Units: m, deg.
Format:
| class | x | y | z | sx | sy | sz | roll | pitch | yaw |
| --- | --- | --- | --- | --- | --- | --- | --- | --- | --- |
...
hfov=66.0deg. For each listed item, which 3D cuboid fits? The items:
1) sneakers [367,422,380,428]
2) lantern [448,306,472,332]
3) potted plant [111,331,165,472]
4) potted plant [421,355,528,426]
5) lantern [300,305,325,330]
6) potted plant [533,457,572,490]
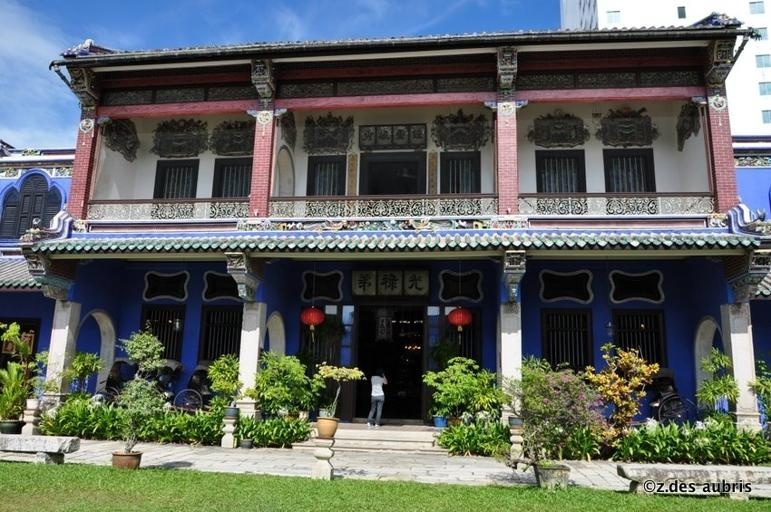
| class | x | y | z | sx | sy | sz | roll | pitch | yaw |
| --- | --- | --- | --- | --- | --- | --- | --- | --- | --- |
| sneakers | -0.321 | 4.579 | 16.004 | 0.369 | 0.155 | 0.133 | -16 | -24 | 39 |
| lantern | 1.992 | 1.708 | 15.940 | 0.639 | 0.692 | 0.640 | 4 | -8 | -36 |
| potted plant | -5.507 | 3.040 | 13.268 | 0.966 | 2.788 | 3.335 | 3 | -3 | -22 |
| potted plant | 2.128 | 3.697 | 14.920 | 1.948 | 1.361 | 1.816 | 4 | 3 | 24 |
| lantern | -2.011 | 1.720 | 16.401 | 0.666 | 0.685 | 0.628 | -2 | -5 | 11 |
| potted plant | 3.168 | 4.147 | 11.242 | 0.578 | 0.343 | 0.484 | 1 | -14 | 3 |
